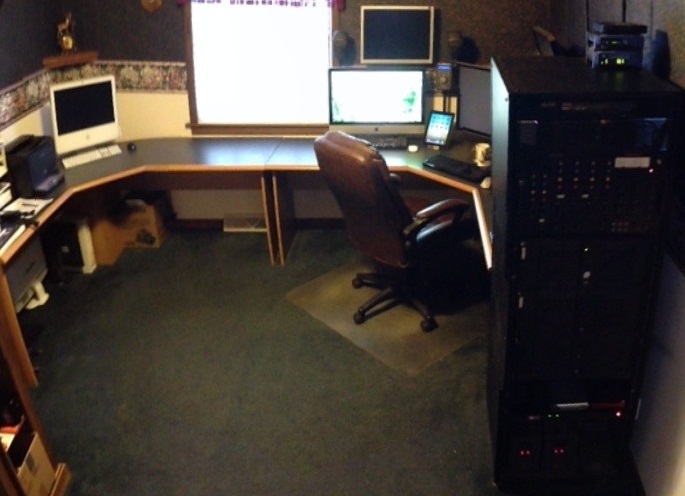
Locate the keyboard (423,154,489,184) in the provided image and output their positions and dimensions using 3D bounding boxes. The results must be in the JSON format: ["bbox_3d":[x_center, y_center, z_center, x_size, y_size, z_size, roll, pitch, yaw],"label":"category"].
[{"bbox_3d":[0.761,-0.535,3.698,0.193,0.035,0.338,-20,36,-36],"label":"keyboard"}]

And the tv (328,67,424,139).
[{"bbox_3d":[0.256,-1.092,4.073,0.659,0.480,0.032,0,12,-1],"label":"tv"}]

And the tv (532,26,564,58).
[{"bbox_3d":[1.224,-1.234,3.316,0.152,0.143,0.478,7,25,13],"label":"tv"}]

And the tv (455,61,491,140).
[{"bbox_3d":[0.936,-1.076,4.009,0.085,0.483,0.359,-12,26,-28],"label":"tv"}]

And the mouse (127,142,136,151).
[{"bbox_3d":[-1.626,-0.786,4.256,0.072,0.051,0.076,-8,36,-20],"label":"mouse"}]

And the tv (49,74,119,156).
[{"bbox_3d":[-1.858,-0.979,4.057,0.598,0.485,0.206,-5,13,20],"label":"tv"}]

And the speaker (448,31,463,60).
[{"bbox_3d":[0.823,-1.494,4.083,0.111,0.205,0.088,-4,23,-11],"label":"speaker"}]

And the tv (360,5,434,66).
[{"bbox_3d":[0.408,-1.609,4.118,0.467,0.354,0.018,0,19,0],"label":"tv"}]

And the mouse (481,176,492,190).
[{"bbox_3d":[0.896,-0.413,3.499,0.061,0.054,0.097,2,24,3],"label":"mouse"}]

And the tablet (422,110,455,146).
[{"bbox_3d":[0.708,-0.893,4.101,0.216,0.283,0.028,16,6,27],"label":"tablet"}]

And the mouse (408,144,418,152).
[{"bbox_3d":[0.525,-0.749,4.108,0.057,0.050,0.056,-2,18,1],"label":"mouse"}]

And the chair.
[{"bbox_3d":[0.363,-0.173,3.643,0.900,1.200,0.872,-19,24,-35],"label":"chair"}]
